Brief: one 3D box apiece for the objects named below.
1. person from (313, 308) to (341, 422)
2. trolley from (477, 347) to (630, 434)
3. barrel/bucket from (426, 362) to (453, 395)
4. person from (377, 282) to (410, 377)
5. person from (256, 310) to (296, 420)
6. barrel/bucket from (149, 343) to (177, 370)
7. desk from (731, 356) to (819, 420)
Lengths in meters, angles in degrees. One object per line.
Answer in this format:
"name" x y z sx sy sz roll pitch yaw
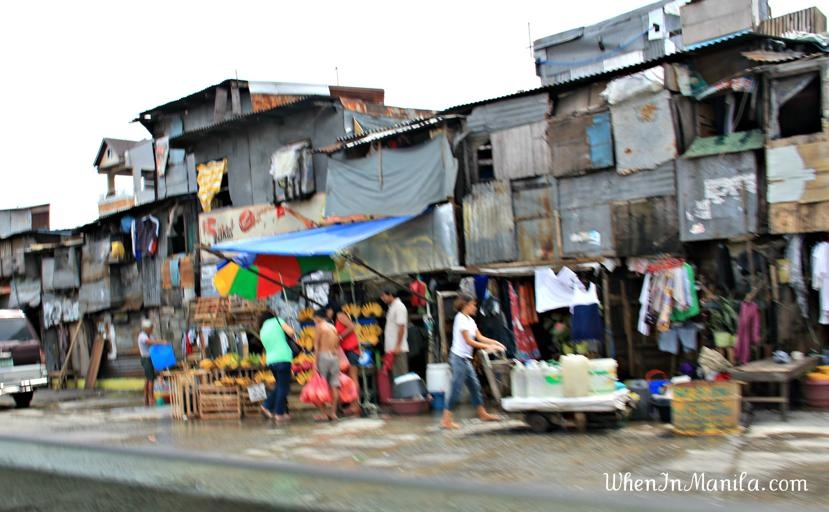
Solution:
"person" -1.680 2.052 13.745 0.507 2.060 0.745 2 -11 -5
"trolley" 2.447 2.111 12.419 2.433 1.453 2.178 -5 2 20
"barrel/bucket" 0.416 2.391 14.078 0.588 0.612 0.574 1 -7 0
"person" -0.412 1.530 14.608 0.542 1.890 0.708 2 -11 -3
"person" -2.788 2.162 14.479 0.630 2.156 0.923 3 -11 -9
"barrel/bucket" -6.276 2.497 18.009 0.475 0.671 0.639 1 -11 0
"desk" 6.424 2.290 12.703 0.855 1.097 2.672 -7 -7 25
